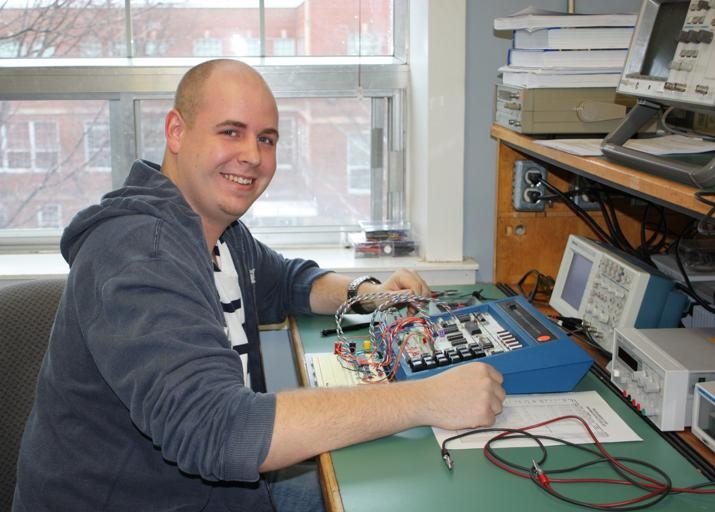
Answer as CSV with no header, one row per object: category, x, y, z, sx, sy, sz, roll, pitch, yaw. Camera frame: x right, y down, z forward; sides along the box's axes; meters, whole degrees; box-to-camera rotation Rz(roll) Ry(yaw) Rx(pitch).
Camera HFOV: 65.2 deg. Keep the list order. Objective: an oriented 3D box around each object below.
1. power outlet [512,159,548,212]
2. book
power outlet,0.653,-0.269,2.126,0.098,0.206,0.108,-1,10,4
book,0.638,-0.598,1.750,0.294,0.141,0.303,0,14,-6
